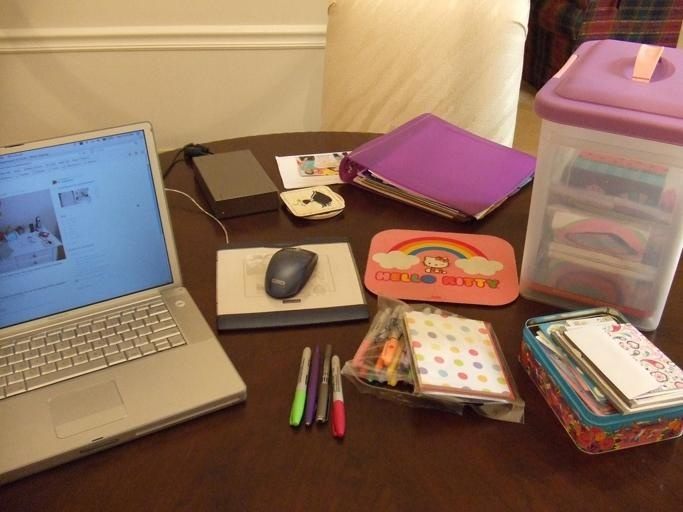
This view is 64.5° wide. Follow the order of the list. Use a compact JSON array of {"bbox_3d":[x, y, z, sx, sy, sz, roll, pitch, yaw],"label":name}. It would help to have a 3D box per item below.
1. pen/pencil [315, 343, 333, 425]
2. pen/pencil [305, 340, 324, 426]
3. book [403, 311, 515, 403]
[{"bbox_3d":[-0.026,0.204,0.844,0.016,0.013,0.095,9,40,4],"label":"pen/pencil"},{"bbox_3d":[-0.041,0.203,0.827,0.014,0.013,0.122,-34,27,32],"label":"pen/pencil"},{"bbox_3d":[0.180,0.165,0.848,0.178,0.028,0.236,0,34,1],"label":"book"}]
